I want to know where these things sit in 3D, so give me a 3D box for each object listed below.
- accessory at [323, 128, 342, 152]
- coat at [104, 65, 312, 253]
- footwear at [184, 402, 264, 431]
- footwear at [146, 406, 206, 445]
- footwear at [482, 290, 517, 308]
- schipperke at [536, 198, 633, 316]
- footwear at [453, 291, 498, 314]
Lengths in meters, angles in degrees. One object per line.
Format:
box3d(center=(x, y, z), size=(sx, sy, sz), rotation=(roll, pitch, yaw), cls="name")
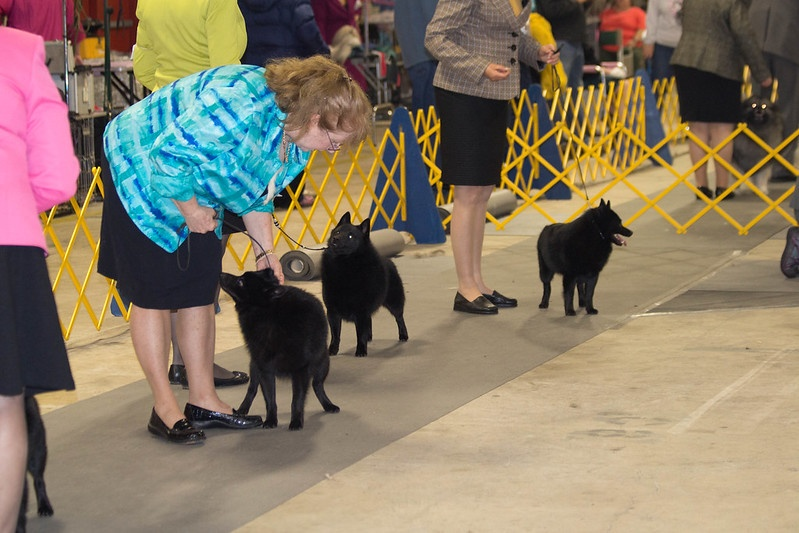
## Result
box3d(center=(-0.297, -0.557, 4.095), size=(0.022, 0.066, 0.069), rotation=(-9, -3, 19), cls="accessory")
box3d(center=(-0.886, -0.479, 4.244), size=(0.918, 0.865, 0.502), rotation=(-4, 15, -10), cls="coat")
box3d(center=(-0.896, 0.770, 4.736), size=(0.435, 0.139, 0.143), rotation=(-1, -2, -9), cls="footwear")
box3d(center=(-1.097, 0.803, 4.600), size=(0.312, 0.111, 0.130), rotation=(3, 1, 26), cls="footwear")
box3d(center=(0.707, 0.228, 6.481), size=(0.253, 0.085, 0.098), rotation=(3, 7, 2), cls="footwear")
box3d(center=(1.217, -0.049, 6.180), size=(0.568, 0.753, 0.326), rotation=(2, 15, 11), cls="schipperke")
box3d(center=(0.524, 0.253, 6.302), size=(0.264, 0.097, 0.134), rotation=(-2, 0, 22), cls="footwear")
